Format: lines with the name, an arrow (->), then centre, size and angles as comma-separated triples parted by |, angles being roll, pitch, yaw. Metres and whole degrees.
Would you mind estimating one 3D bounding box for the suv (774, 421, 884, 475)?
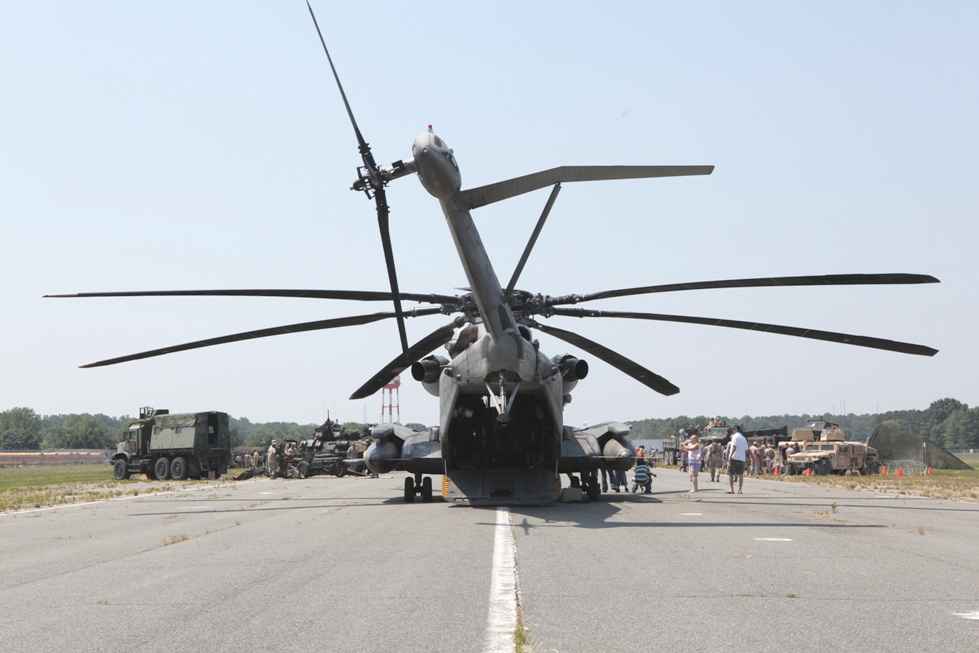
suv -> 20.818, 7.558, 49.948 | 6.087, 3.047, 3.281 | 6, -9, -29
